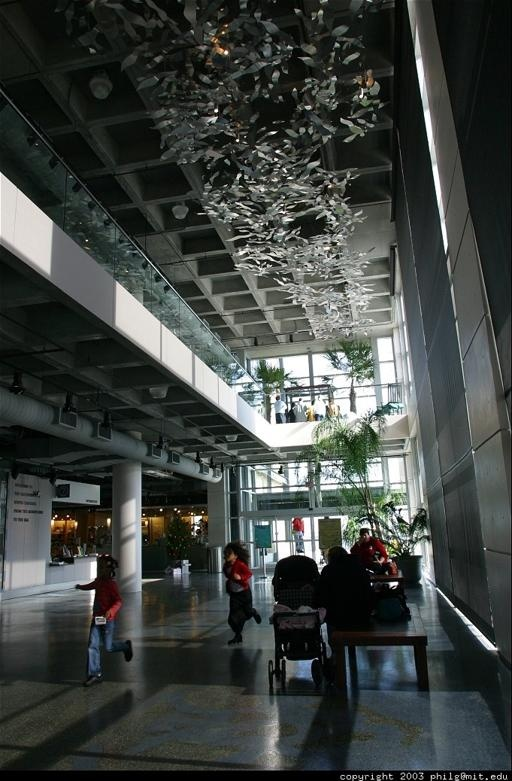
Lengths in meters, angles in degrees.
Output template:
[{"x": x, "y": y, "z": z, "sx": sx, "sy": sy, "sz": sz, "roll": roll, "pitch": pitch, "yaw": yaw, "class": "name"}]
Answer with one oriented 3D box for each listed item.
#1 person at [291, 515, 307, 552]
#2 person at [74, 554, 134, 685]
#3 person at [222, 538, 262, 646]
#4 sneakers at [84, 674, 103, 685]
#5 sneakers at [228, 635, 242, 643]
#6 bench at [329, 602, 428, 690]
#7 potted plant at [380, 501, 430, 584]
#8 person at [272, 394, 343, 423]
[{"x": 1.803, "y": 5.948, "z": 21.368, "sx": 0.521, "sy": 1.450, "sz": 0.670, "roll": -2, "pitch": -14, "yaw": -4, "class": "person"}, {"x": -1.615, "y": 2.372, "z": 5.452, "sx": 0.536, "sy": 1.255, "sz": 1.156, "roll": 0, "pitch": -14, "yaw": -14, "class": "person"}, {"x": -0.218, "y": 2.972, "z": 7.751, "sx": 0.500, "sy": 1.414, "sz": 1.420, "roll": -3, "pitch": -13, "yaw": -1, "class": "person"}, {"x": -1.583, "y": 2.789, "z": 4.987, "sx": 0.060, "sy": 0.135, "sz": 0.185, "roll": -15, "pitch": -30, "yaw": 11, "class": "sneakers"}, {"x": -0.292, "y": 3.415, "z": 7.099, "sx": 0.195, "sy": 0.094, "sz": 0.244, "roll": -3, "pitch": -13, "yaw": -5, "class": "sneakers"}, {"x": 1.184, "y": 2.467, "z": 4.929, "sx": 0.840, "sy": 0.629, "sz": 1.752, "roll": -6, "pitch": -14, "yaw": 12, "class": "bench"}, {"x": 3.848, "y": 3.903, "z": 13.280, "sx": 1.288, "sy": 1.960, "sz": 1.369, "roll": 0, "pitch": -19, "yaw": -3, "class": "potted plant"}, {"x": 1.968, "y": 0.697, "z": 20.822, "sx": 2.169, "sy": 1.205, "sz": 1.541, "roll": -3, "pitch": -16, "yaw": 6, "class": "person"}]
